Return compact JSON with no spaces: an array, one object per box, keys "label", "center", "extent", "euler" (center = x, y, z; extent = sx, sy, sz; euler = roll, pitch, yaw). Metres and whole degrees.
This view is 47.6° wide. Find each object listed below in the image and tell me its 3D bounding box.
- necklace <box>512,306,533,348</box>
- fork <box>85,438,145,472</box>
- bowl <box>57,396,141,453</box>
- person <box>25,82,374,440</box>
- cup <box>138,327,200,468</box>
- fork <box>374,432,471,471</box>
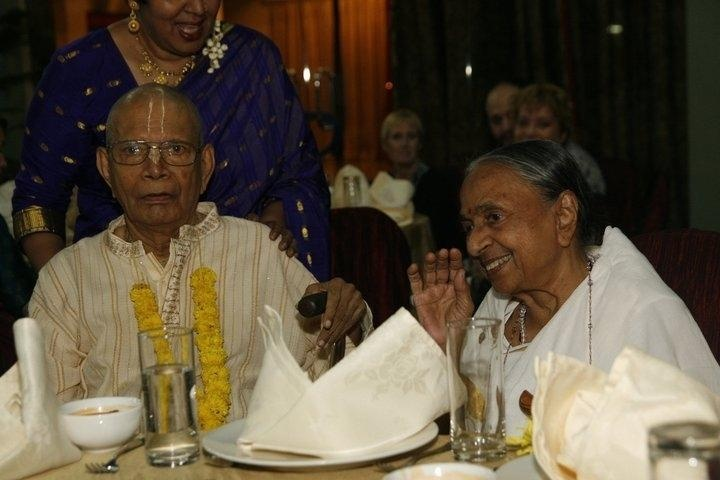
[{"label":"necklace","center":[0.709,0.389,3.563],"extent":[0.047,0.200,0.050],"euler":[23,-45,-12]},{"label":"fork","center":[-0.770,0.698,2.635],"extent":[0.054,0.049,0.318],"euler":[3,-1,14]},{"label":"bowl","center":[-0.867,0.630,2.757],"extent":[0.272,0.157,0.286],"euler":[0,3,0]},{"label":"person","center":[-0.728,0.077,3.428],"extent":[1.226,1.255,0.737],"euler":[-11,5,-19]},{"label":"cup","center":[-0.591,0.496,2.552],"extent":[0.167,0.439,0.113],"euler":[-3,0,-16]},{"label":"fork","center":[0.186,0.660,2.527],"extent":[0.303,0.037,0.036],"euler":[-13,35,-25]}]
